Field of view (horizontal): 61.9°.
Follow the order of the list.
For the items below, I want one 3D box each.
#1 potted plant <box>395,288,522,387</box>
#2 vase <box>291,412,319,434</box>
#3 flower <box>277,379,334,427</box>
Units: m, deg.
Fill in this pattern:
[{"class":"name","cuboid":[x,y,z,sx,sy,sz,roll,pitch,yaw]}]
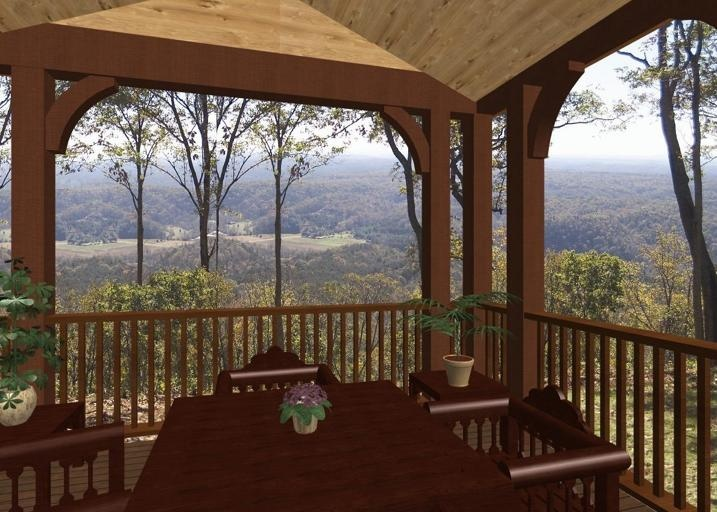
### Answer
[{"class":"potted plant","cuboid":[0.928,0.694,5.499,0.824,0.726,0.839,0,-4,-12]},{"class":"vase","cuboid":[-0.352,1.089,3.994,0.135,0.105,0.136,2,-5,-18]},{"class":"flower","cuboid":[-0.412,0.972,4.092,0.350,0.199,0.397,5,3,33]}]
